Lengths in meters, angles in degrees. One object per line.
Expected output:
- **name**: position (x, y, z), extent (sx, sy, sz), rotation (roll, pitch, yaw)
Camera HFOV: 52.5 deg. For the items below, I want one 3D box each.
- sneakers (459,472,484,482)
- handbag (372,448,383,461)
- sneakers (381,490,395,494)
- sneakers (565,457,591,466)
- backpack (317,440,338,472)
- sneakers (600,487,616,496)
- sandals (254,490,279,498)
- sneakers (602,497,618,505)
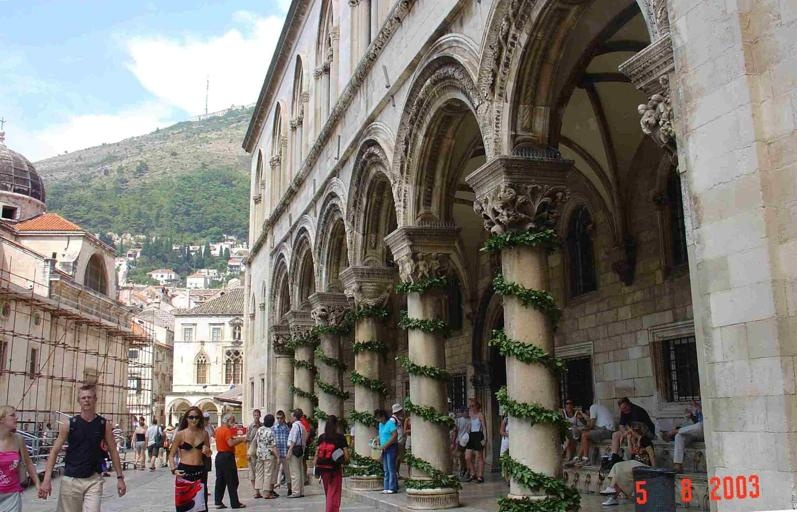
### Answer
- **sneakers**: position (1.782, 5.315, 19.393), extent (0.673, 0.268, 0.228), rotation (-7, -11, 18)
- **handbag**: position (-0.500, 4.516, 18.402), extent (0.238, 0.255, 0.479), rotation (-1, -21, -1)
- **sneakers**: position (-0.222, 5.136, 17.593), extent (0.224, 0.062, 0.086), rotation (10, -39, -1)
- **sneakers**: position (3.708, 4.254, 16.697), extent (0.570, 0.230, 0.193), rotation (-4, -19, 8)
- **backpack**: position (-1.200, 3.439, 13.791), extent (0.427, 0.601, 0.323), rotation (1, -32, -1)
- **sneakers**: position (3.792, 4.246, 14.609), extent (0.336, 0.143, 0.130), rotation (6, -27, -13)
- **sandals**: position (-3.043, 5.556, 18.735), extent (0.632, 0.254, 0.213), rotation (-2, -10, 1)
- **sneakers**: position (3.820, 4.413, 14.585), extent (0.296, 0.192, 0.607), rotation (-6, -21, 13)
